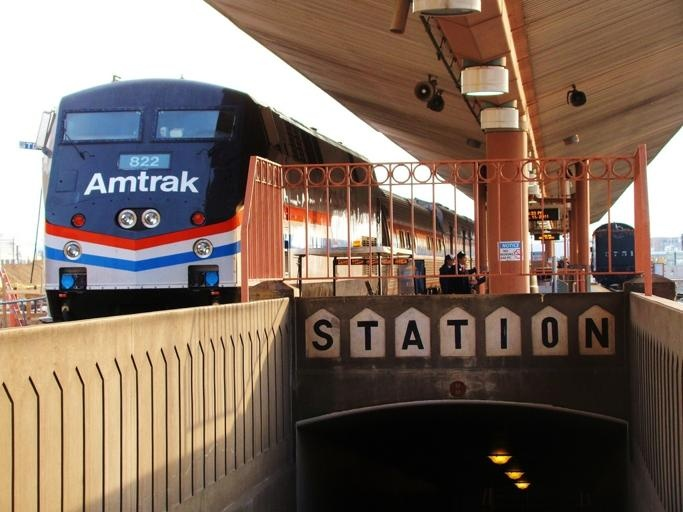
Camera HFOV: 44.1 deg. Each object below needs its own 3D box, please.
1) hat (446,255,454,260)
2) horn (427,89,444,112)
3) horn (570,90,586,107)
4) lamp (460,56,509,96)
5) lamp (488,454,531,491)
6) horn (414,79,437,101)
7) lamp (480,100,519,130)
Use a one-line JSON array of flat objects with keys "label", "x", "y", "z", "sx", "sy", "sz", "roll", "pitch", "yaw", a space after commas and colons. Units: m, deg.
[{"label": "hat", "x": 1.630, "y": 0.015, "z": 12.723, "sx": 0.076, "sy": 0.087, "sz": 0.091, "roll": 3, "pitch": 3, "yaw": -9}, {"label": "horn", "x": 1.756, "y": -2.876, "z": 15.660, "sx": 0.325, "sy": 0.398, "sz": 0.413, "roll": 14, "pitch": 4, "yaw": 5}, {"label": "horn", "x": 4.131, "y": -2.785, "z": 14.717, "sx": 0.268, "sy": 0.276, "sz": 0.334, "roll": 9, "pitch": 8, "yaw": 11}, {"label": "lamp", "x": 2.087, "y": -2.607, "z": 12.249, "sx": 0.488, "sy": 0.371, "sz": 0.513, "roll": 0, "pitch": -3, "yaw": 2}, {"label": "lamp", "x": 2.556, "y": 3.298, "z": 12.831, "sx": 0.506, "sy": 0.591, "sz": 0.542, "roll": 1, "pitch": -42, "yaw": 5}, {"label": "horn", "x": 1.556, "y": -2.999, "z": 15.383, "sx": 0.408, "sy": 0.439, "sz": 0.468, "roll": -7, "pitch": -2, "yaw": 12}, {"label": "lamp", "x": 2.648, "y": -2.311, "z": 14.133, "sx": 0.477, "sy": 0.372, "sz": 0.478, "roll": 3, "pitch": -4, "yaw": -32}]
